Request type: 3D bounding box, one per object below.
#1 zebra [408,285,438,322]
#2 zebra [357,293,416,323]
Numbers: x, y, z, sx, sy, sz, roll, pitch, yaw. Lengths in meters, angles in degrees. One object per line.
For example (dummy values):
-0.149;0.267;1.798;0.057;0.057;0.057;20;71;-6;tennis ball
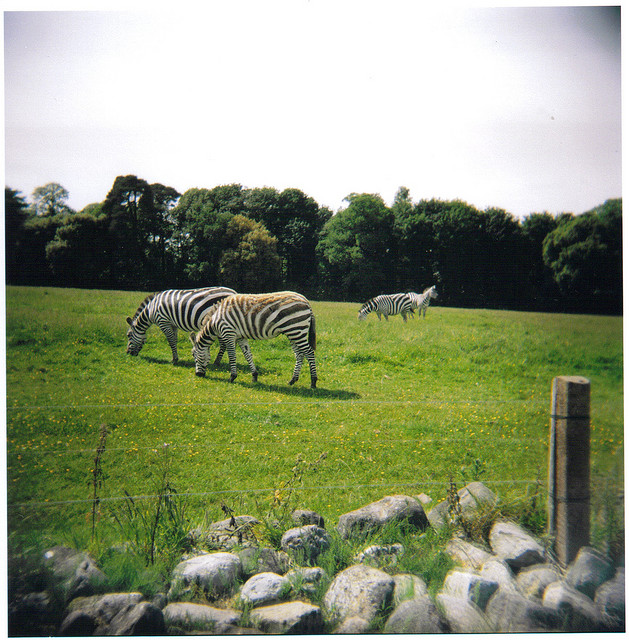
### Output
1.242;-0.190;9.341;0.310;0.414;0.257;1;3;0;zebra
0.839;-0.143;9.190;0.712;0.332;0.463;0;3;-7;zebra
